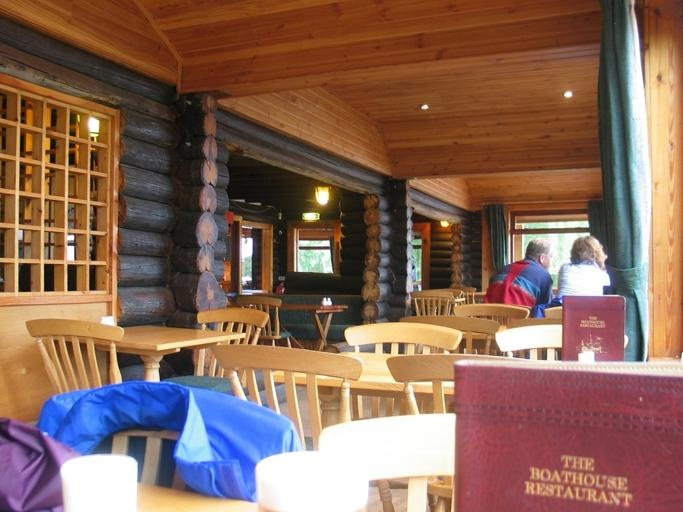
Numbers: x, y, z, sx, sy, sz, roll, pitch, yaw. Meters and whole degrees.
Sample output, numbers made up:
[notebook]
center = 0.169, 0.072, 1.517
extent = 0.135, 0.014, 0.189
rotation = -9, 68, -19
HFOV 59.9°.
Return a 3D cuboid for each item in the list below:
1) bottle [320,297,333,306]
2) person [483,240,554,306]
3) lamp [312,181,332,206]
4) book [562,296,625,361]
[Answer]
[bottle]
center = -0.226, 0.614, 7.890
extent = 0.142, 0.092, 0.126
rotation = 1, 3, 14
[person]
center = 1.634, 0.206, 5.281
extent = 0.546, 0.701, 0.555
rotation = -1, 8, -33
[lamp]
center = -0.456, -1.066, 10.307
extent = 0.427, 0.422, 0.405
rotation = 3, 9, 19
[book]
center = 0.881, 0.260, 2.087
extent = 0.203, 0.242, 0.221
rotation = -4, -16, 32
